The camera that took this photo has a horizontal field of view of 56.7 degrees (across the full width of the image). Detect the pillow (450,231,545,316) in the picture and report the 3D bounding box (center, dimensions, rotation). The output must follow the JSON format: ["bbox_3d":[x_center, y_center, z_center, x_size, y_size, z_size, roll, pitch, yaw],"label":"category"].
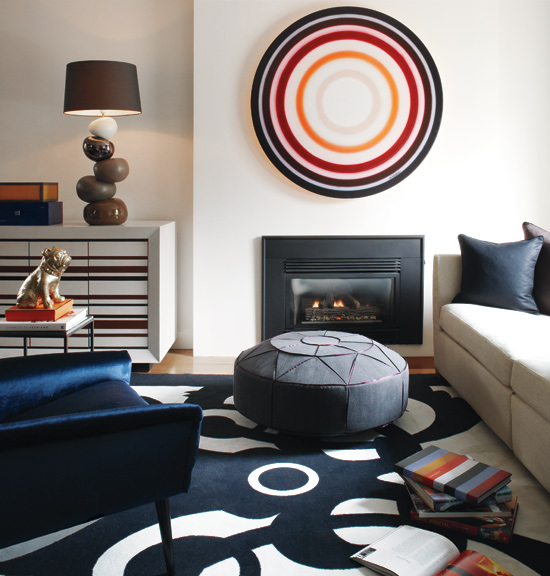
[{"bbox_3d":[1.268,-0.063,2.923,0.496,0.422,0.184,6,-5,38],"label":"pillow"}]

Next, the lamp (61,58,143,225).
[{"bbox_3d":[-1.077,-0.923,3.235,0.413,1.058,0.422,7,10,43],"label":"lamp"}]

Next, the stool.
[{"bbox_3d":[0.194,0.433,2.386,0.548,0.217,0.526,0,6,-3],"label":"stool"}]
